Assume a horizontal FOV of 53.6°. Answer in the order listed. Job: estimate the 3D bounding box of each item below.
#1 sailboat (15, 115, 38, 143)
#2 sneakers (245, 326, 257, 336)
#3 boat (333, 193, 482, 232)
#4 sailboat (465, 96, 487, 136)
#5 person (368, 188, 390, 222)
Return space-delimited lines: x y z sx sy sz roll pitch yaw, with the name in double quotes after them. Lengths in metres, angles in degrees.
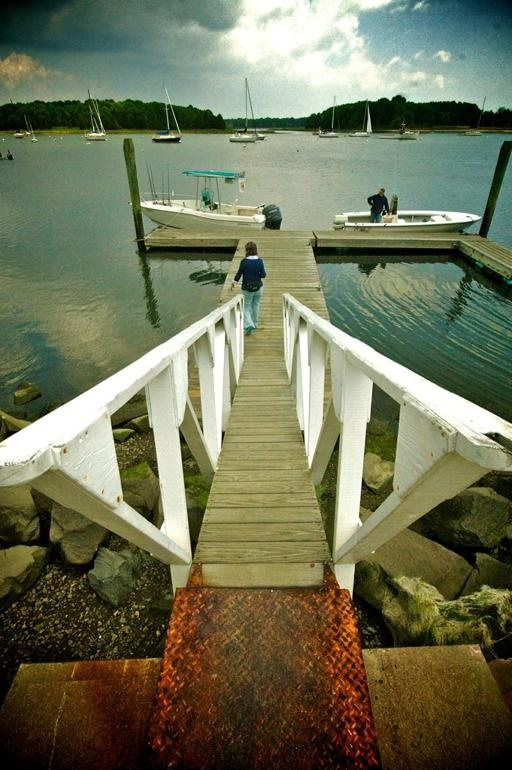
-46.836 -53.087 101.742 3.559 3.847 6.901 -8 33 -10 "sailboat"
-0.064 -0.823 7.216 0.136 0.141 0.112 -5 -16 28 "sneakers"
4.573 -5.313 15.660 4.074 0.786 2.021 -7 33 -8 "boat"
43.277 -53.129 99.706 2.409 4.486 13.445 10 34 18 "sailboat"
3.566 -5.365 14.720 0.574 1.102 1.473 6 32 12 "person"
